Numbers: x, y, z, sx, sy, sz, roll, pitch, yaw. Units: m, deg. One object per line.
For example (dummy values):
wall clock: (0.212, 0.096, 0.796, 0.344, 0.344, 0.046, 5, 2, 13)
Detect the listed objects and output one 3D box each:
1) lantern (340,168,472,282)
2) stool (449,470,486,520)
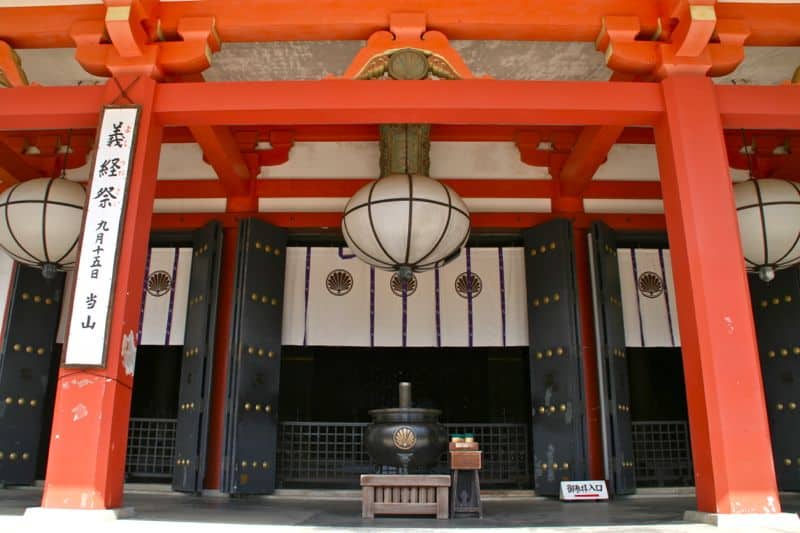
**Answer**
lantern: (0.066, -0.435, 5.972, 1.075, 0.770, 0.510, 2, -18, -9)
stool: (0.542, 1.867, 5.218, 0.256, 0.370, 0.225, -2, -18, 4)
